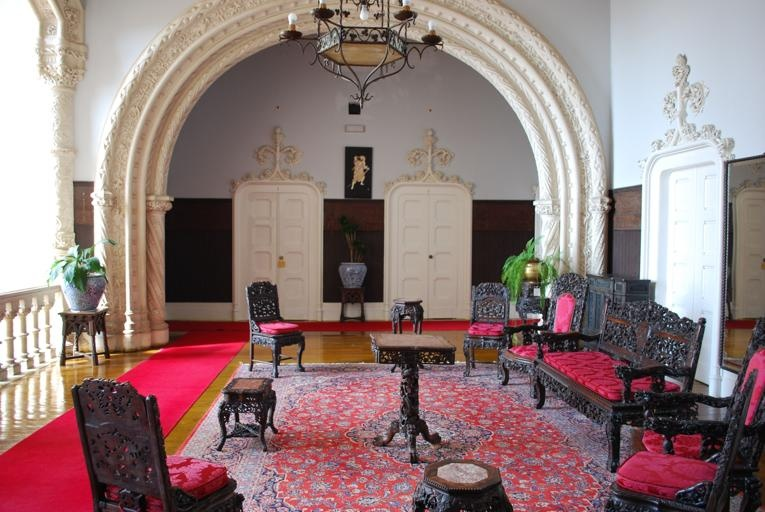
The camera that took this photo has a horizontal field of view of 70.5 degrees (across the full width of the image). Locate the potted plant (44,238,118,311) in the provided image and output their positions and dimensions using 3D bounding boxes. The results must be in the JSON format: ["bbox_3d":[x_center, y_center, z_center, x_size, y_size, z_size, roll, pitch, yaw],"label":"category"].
[{"bbox_3d":[-4.459,0.361,8.124,0.793,0.934,0.865,4,6,6],"label":"potted plant"}]

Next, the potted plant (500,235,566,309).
[{"bbox_3d":[2.397,0.270,8.885,1.012,1.069,1.042,1,-1,-22],"label":"potted plant"}]

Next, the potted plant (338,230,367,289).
[{"bbox_3d":[-0.614,0.091,11.129,0.564,1.156,0.553,-1,3,-1],"label":"potted plant"}]

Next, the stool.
[{"bbox_3d":[-1.349,1.644,5.703,0.578,0.732,0.649,0,1,-1],"label":"stool"}]

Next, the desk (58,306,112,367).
[{"bbox_3d":[-4.514,1.221,8.198,0.777,0.814,0.765,-2,-4,21],"label":"desk"}]
